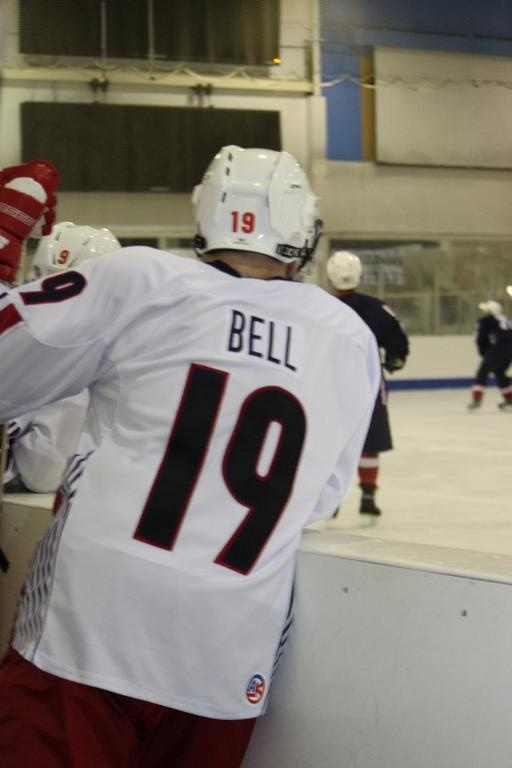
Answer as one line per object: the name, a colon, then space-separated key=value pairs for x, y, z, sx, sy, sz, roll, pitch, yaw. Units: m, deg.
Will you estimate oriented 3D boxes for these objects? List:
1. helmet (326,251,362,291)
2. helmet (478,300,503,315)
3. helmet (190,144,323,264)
helmet: x=0.414 y=-0.547 z=4.012 sx=0.147 sy=0.190 sz=0.189 roll=1 pitch=30 yaw=4
helmet: x=1.608 y=-0.524 z=5.753 sx=0.118 sy=0.105 sz=0.285 roll=6 pitch=19 yaw=5
helmet: x=0.005 y=-0.268 z=1.234 sx=0.169 sy=0.164 sz=0.186 roll=6 pitch=18 yaw=4
